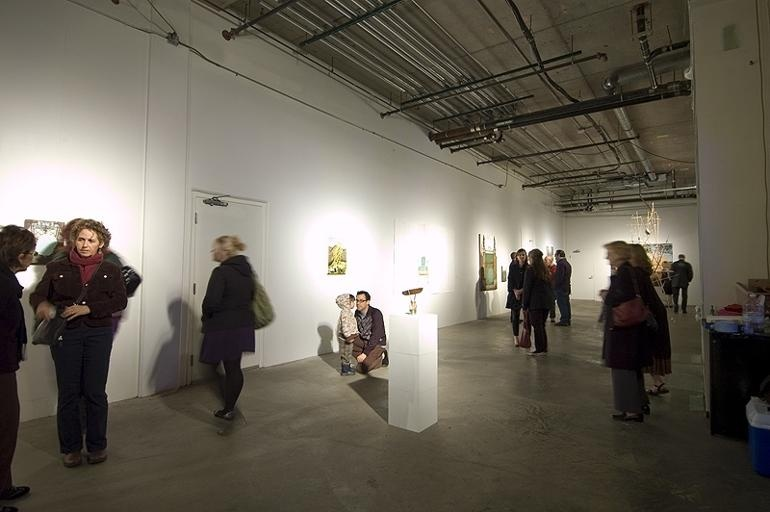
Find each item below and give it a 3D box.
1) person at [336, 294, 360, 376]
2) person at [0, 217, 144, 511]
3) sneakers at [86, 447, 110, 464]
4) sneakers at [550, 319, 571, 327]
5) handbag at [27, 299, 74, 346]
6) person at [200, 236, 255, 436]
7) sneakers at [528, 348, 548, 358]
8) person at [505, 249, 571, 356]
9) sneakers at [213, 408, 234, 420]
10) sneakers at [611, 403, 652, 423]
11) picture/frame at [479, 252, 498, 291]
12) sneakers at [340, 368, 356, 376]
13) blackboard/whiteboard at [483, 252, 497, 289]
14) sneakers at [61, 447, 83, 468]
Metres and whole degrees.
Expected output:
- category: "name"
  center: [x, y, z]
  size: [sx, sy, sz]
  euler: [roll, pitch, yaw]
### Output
- category: "person"
  center: [-0.592, 1.242, 7.609]
  size: [0.326, 1.090, 0.873]
  euler: [-1, 13, -4]
- category: "person"
  center: [-3.109, 0.899, 4.915]
  size: [0.801, 2.465, 0.570]
  euler: [-9, 15, -38]
- category: "sneakers"
  center: [-2.989, 2.057, 4.975]
  size: [0.190, 0.201, 0.118]
  euler: [1, 1, -14]
- category: "sneakers"
  center: [4.333, 1.650, 11.705]
  size: [0.507, 0.227, 0.175]
  euler: [2, -3, 25]
- category: "handbag"
  center: [-3.405, 0.746, 4.718]
  size: [0.280, 0.515, 0.387]
  euler: [10, -2, 44]
- category: "person"
  center: [-1.844, 0.885, 5.644]
  size: [0.608, 2.168, 0.612]
  euler: [-1, 12, -8]
- category: "sneakers"
  center: [2.710, 1.686, 8.367]
  size: [0.320, 0.153, 0.131]
  euler: [-3, -1, 32]
- category: "person"
  center: [2.674, 0.836, 8.331]
  size: [0.518, 1.902, 0.520]
  euler: [3, 12, 15]
- category: "sneakers"
  center: [-1.961, 1.883, 5.758]
  size: [0.264, 0.093, 0.126]
  euler: [6, 2, 26]
- category: "sneakers"
  center: [3.087, 1.926, 5.848]
  size: [0.543, 0.245, 0.189]
  euler: [3, -2, 8]
- category: "picture/frame"
  center: [2.988, 0.429, 13.747]
  size: [0.133, 1.316, 1.119]
  euler: [-3, -1, 30]
- category: "sneakers"
  center: [-0.571, 1.754, 7.392]
  size: [0.234, 0.128, 0.243]
  euler: [-1, 13, -4]
- category: "blackboard/whiteboard"
  center: [3.054, 0.399, 13.835]
  size: [0.129, 1.271, 1.080]
  euler: [-3, -1, 28]
- category: "sneakers"
  center: [-3.196, 2.079, 4.917]
  size: [0.226, 0.228, 0.126]
  euler: [15, -14, -29]
